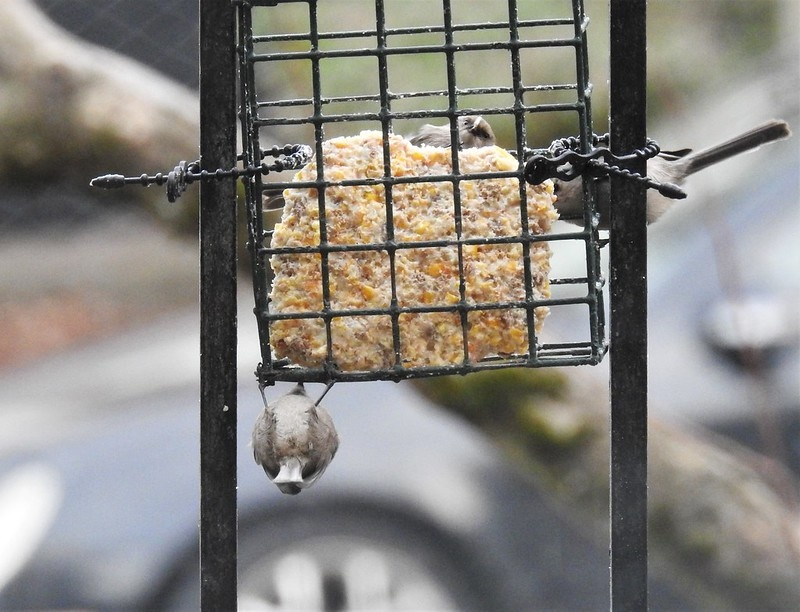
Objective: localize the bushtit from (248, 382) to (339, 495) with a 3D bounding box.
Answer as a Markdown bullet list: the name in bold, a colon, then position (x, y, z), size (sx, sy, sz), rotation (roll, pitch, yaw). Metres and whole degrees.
- **bushtit**: position (-0.386, 0.481, 5.423), size (0.307, 0.256, 0.353), rotation (-13, -84, 1)

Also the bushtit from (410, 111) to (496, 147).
- **bushtit**: position (0.221, -0.697, 5.965), size (0.233, 0.302, 0.168), rotation (-6, -81, -31)
